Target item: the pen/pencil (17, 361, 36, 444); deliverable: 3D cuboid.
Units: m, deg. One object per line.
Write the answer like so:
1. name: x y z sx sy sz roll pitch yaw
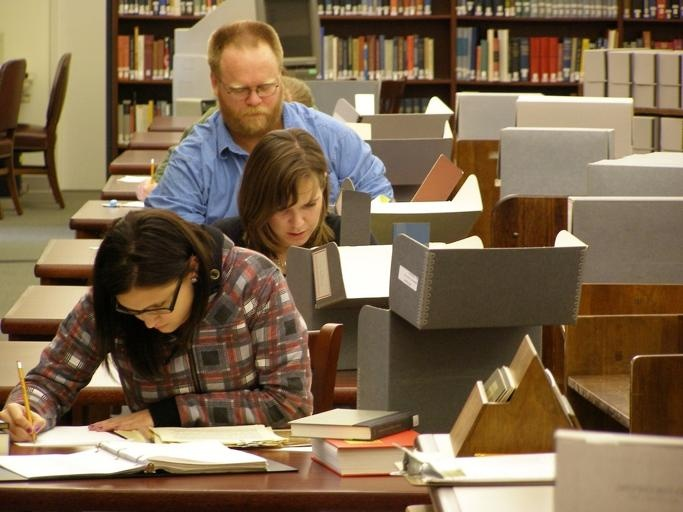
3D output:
1. pen/pencil: -0.687 0.324 1.767 0.012 0.182 0.014 -15 -28 -10

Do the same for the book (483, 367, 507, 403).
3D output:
1. book: 0.291 0.243 1.528 0.012 0.049 0.051 28 20 -13

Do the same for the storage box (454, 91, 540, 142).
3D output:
1. storage box: 0.814 -0.800 4.763 0.328 0.229 0.351 -1 3 -7

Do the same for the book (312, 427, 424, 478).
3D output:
1. book: 0.042 0.366 1.516 0.109 0.029 0.113 -2 8 -13
